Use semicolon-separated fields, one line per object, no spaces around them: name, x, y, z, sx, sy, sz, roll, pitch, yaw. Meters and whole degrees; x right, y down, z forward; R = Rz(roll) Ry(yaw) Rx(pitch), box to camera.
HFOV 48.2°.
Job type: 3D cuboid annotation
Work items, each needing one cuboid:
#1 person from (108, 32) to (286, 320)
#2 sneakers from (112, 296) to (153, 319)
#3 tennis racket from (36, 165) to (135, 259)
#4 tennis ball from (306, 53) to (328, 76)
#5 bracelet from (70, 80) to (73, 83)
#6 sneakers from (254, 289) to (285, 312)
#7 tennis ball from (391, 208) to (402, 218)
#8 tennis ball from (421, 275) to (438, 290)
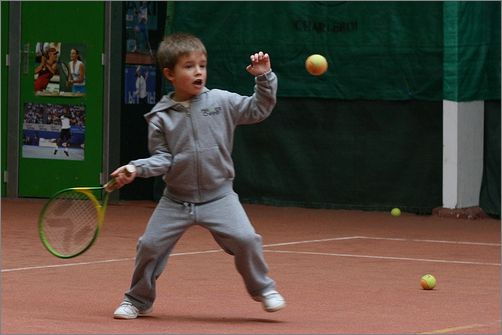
person;-0.331;0.058;3.551;1.055;1.837;0.375;1;3;-8
sneakers;-0.770;0.903;3.601;0.097;0.114;0.266;-2;-9;36
tennis racket;-1.068;0.291;3.624;0.898;0.384;0.068;-43;-20;30
tennis ball;0.654;-1.050;5.597;0.226;0.219;0.212;0;-1;0
bracelet;-3.002;-1.438;9.352;0.030;0.030;0.030;-1;2;20
sneakers;0.127;0.839;3.565;0.093;0.091;0.220;-11;4;-35
tennis ball;2.224;0.694;8.581;0.119;0.118;0.119;-8;14;2
tennis ball;1.448;0.925;4.531;0.130;0.102;0.132;1;3;0
